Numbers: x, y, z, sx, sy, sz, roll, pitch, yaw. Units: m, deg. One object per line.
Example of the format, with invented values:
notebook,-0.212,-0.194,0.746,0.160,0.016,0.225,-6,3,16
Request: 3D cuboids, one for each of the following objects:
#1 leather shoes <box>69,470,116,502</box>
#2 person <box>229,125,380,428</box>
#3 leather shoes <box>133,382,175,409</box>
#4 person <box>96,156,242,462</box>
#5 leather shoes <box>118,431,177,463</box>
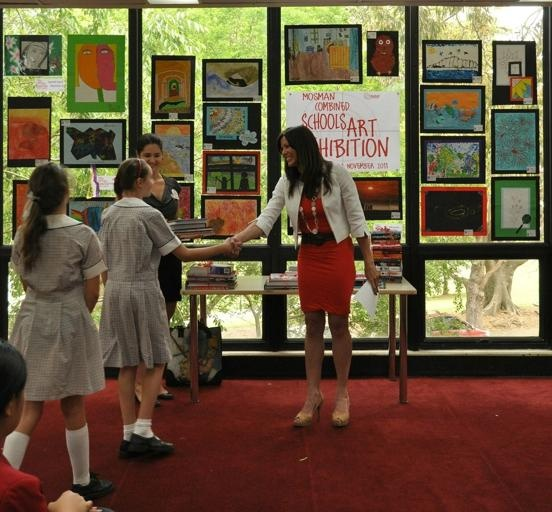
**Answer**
leather shoes,-0.815,1.040,2.765,0.101,0.116,0.224,4,0,35
person,0.230,0.124,3.608,0.739,1.774,0.197,0,4,10
leather shoes,-0.842,0.972,4.194,0.181,0.068,0.194,0,0,6
person,-0.654,0.372,3.220,0.543,1.362,0.240,-2,4,-17
leather shoes,-0.672,0.985,3.170,0.253,0.122,0.133,3,-8,-26
